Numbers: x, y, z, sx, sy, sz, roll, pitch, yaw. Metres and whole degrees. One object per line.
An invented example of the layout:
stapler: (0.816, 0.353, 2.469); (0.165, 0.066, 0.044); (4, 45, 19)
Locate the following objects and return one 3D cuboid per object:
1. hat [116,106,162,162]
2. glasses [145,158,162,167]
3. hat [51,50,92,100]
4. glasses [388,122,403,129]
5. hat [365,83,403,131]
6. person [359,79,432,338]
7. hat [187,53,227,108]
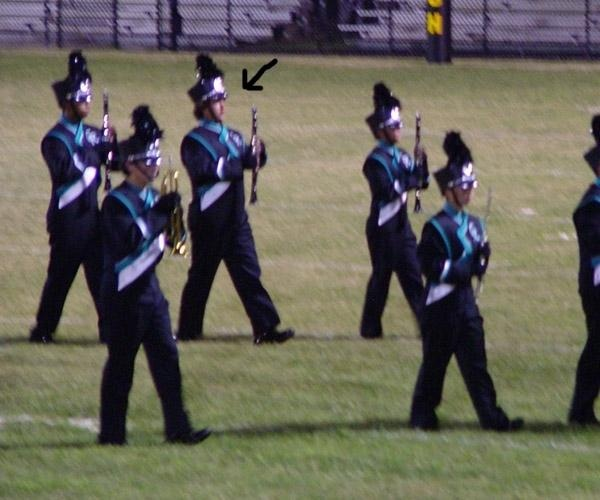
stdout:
hat: (-1.191, -0.858, 13.425); (0.281, 0.433, 0.262); (-9, 25, -41)
glasses: (-1.070, -0.668, 13.402); (0.082, 0.064, 0.207); (2, 12, 19)
hat: (-1.926, -1.472, 15.299); (0.229, 0.476, 0.276); (13, 22, 28)
glasses: (0.804, -1.068, 15.391); (0.118, 0.059, 0.035); (-7, 11, -25)
hat: (0.710, -1.232, 15.527); (0.270, 0.439, 0.307); (-6, 11, -23)
person: (0.777, -0.312, 15.577); (0.570, 2.064, 0.655); (0, 28, -16)
hat: (-0.767, -1.478, 15.151); (0.262, 0.447, 0.238); (-10, 26, -24)
